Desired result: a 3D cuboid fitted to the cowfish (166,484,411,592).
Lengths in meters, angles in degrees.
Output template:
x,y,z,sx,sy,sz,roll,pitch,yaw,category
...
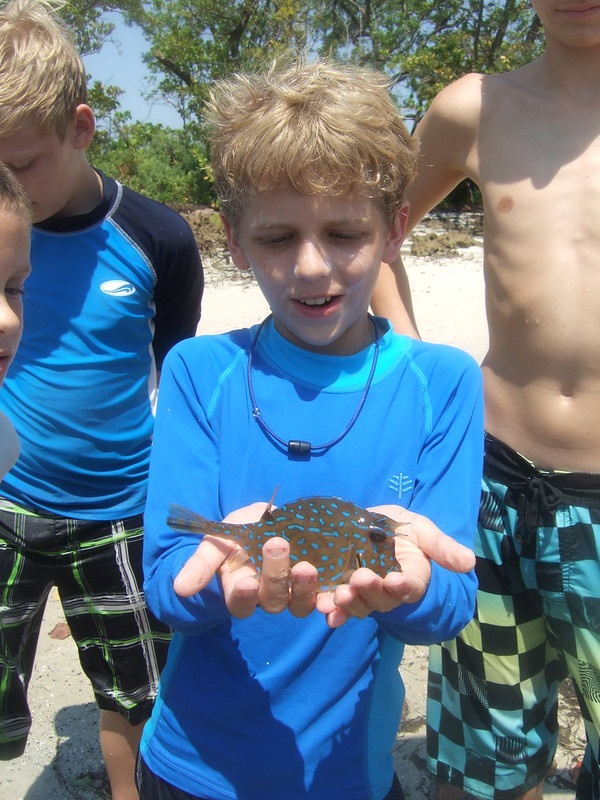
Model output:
x,y,z,sx,sy,sz,roll,pitch,yaw,category
-0.031,0.278,1.431,0.471,0.162,0.166,9,-15,-19,cowfish
